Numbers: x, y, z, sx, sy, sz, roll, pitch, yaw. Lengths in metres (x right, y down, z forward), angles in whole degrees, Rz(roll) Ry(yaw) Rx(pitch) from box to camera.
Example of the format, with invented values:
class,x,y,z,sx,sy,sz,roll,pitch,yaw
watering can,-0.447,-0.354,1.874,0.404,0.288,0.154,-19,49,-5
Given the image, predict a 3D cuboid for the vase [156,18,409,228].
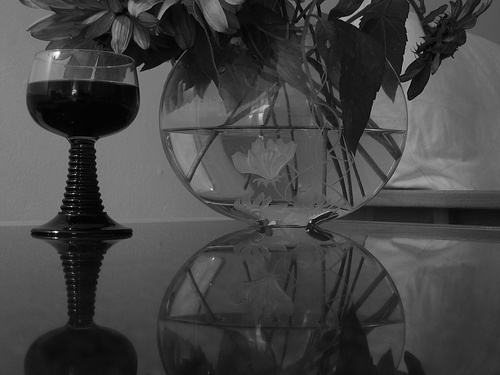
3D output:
class,x,y,z,sx,sy,sz,roll,pitch,yaw
vase,0.033,-0.056,0.720,0.230,0.231,0.237,0,-3,-13
